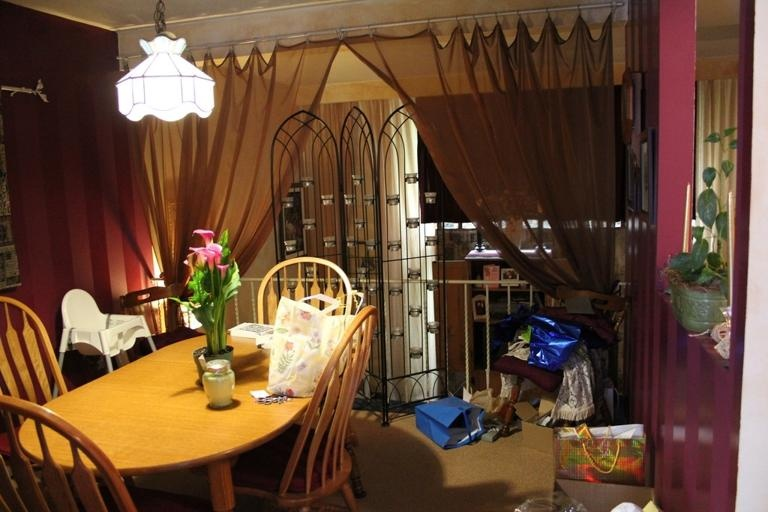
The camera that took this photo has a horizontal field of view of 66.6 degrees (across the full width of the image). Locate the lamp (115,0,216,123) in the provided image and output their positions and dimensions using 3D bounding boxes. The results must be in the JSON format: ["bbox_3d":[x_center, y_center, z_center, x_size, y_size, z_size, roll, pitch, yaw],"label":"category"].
[{"bbox_3d":[-1.111,-0.946,2.934,0.394,0.509,0.310,3,14,15],"label":"lamp"}]

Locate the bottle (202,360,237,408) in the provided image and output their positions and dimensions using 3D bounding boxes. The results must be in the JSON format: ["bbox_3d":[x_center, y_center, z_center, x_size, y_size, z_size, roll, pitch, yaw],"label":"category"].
[{"bbox_3d":[-0.835,0.636,2.947,0.143,0.233,0.134,-1,14,0],"label":"bottle"}]

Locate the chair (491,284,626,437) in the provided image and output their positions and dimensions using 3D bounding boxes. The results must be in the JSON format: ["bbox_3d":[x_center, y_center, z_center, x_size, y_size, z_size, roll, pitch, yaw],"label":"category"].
[{"bbox_3d":[1.219,0.777,4.118,0.803,0.993,0.625,5,15,24],"label":"chair"}]

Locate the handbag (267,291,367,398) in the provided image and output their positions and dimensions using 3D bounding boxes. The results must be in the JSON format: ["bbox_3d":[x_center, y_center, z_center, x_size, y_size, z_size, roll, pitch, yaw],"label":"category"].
[{"bbox_3d":[-0.408,0.493,3.207,0.377,0.570,0.201,9,-6,7],"label":"handbag"}]
